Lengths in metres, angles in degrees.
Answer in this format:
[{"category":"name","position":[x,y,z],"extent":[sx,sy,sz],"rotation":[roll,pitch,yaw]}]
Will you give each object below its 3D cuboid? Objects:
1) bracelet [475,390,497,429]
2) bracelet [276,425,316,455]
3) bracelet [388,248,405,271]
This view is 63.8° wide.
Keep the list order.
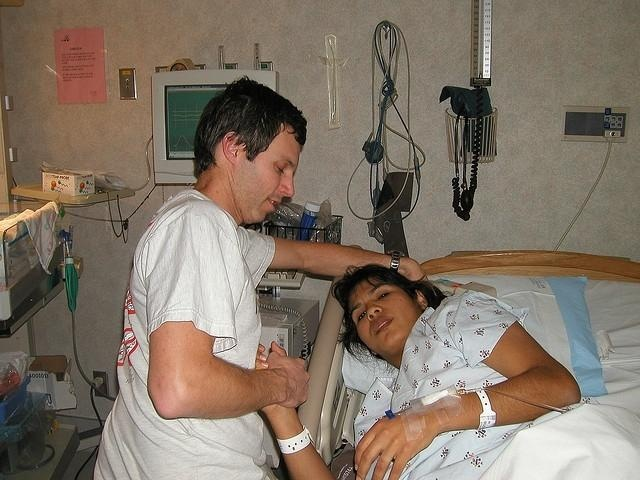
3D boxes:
[{"category":"bracelet","position":[0.490,0.507,1.526],"extent":[0.028,0.096,0.065],"rotation":[-3,3,6]},{"category":"bracelet","position":[-0.085,0.638,1.638],"extent":[0.074,0.044,0.079],"rotation":[-3,8,6]},{"category":"bracelet","position":[0.314,0.084,2.122],"extent":[0.066,0.074,0.073],"rotation":[3,11,4]}]
